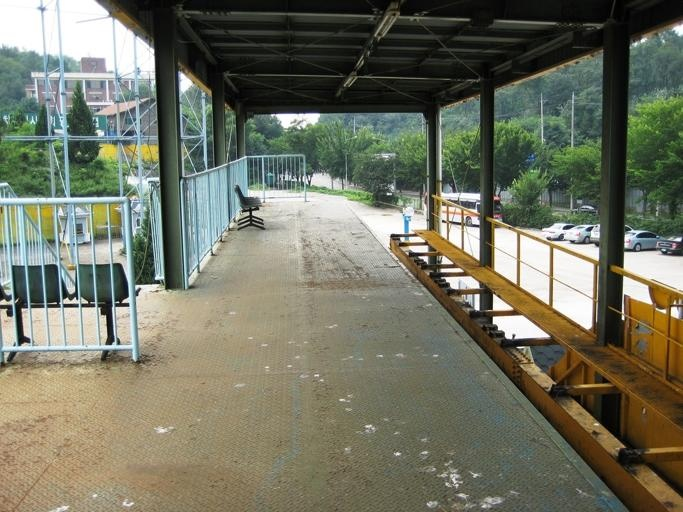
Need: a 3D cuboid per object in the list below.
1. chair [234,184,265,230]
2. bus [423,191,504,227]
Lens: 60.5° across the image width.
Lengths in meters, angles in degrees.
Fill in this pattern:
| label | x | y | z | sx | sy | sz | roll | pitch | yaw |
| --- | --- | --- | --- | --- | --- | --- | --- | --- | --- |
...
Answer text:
| label | x | y | z | sx | sy | sz | roll | pitch | yaw |
| --- | --- | --- | --- | --- | --- | --- | --- | --- | --- |
| chair | -2.815 | -1.440 | 17.685 | 0.761 | 0.948 | 2.257 | -2 | 12 | -5 |
| bus | 11.782 | -4.596 | 57.372 | 3.040 | 3.069 | 9.648 | -1 | 7 | -25 |
